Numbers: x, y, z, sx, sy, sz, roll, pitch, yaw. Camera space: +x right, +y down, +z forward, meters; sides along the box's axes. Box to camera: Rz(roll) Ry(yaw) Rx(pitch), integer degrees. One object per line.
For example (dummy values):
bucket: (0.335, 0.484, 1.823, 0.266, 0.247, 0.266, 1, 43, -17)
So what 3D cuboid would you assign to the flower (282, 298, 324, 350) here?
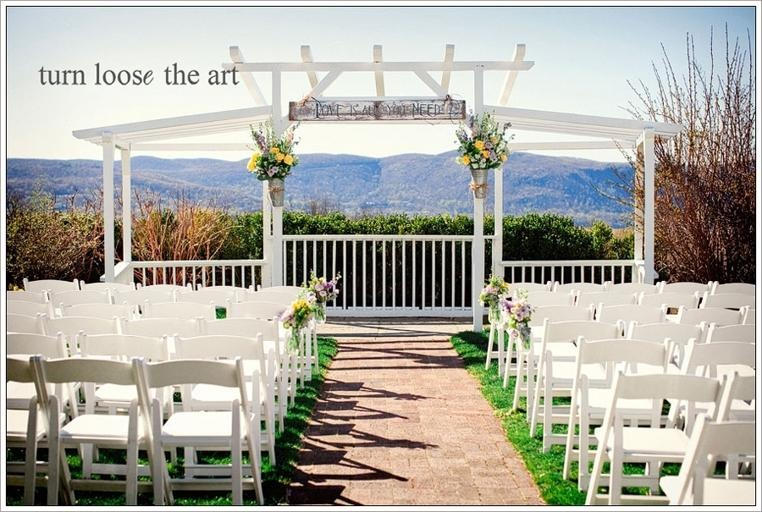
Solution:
flower: (-0.938, 0.760, 8.543, 0.417, 0.592, 0.563, -2, -17, -7)

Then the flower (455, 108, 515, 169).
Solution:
flower: (1.614, -1.653, 11.322, 0.830, 0.942, 0.788, 2, -2, -42)

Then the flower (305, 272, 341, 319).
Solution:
flower: (-0.683, 0.491, 9.295, 0.311, 0.450, 0.382, 3, 0, -7)

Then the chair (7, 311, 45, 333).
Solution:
chair: (-3.553, 0.660, 7.805, 0.294, 0.107, 0.198, 10, -5, -12)

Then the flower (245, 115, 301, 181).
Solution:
flower: (-1.504, -1.466, 11.397, 0.635, 0.855, 0.722, -5, -9, 6)

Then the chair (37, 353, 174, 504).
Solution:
chair: (-2.321, 1.535, 6.782, 0.971, 1.333, 0.790, -1, -1, 15)

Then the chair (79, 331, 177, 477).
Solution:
chair: (-2.532, 1.487, 7.347, 0.633, 1.032, 0.741, 1, -7, -7)

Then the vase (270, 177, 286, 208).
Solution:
vase: (-1.518, -0.908, 11.357, 0.204, 0.400, 0.265, -1, -1, -12)

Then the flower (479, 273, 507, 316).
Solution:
flower: (1.360, 0.462, 9.374, 0.399, 0.563, 0.443, 1, 5, 6)
